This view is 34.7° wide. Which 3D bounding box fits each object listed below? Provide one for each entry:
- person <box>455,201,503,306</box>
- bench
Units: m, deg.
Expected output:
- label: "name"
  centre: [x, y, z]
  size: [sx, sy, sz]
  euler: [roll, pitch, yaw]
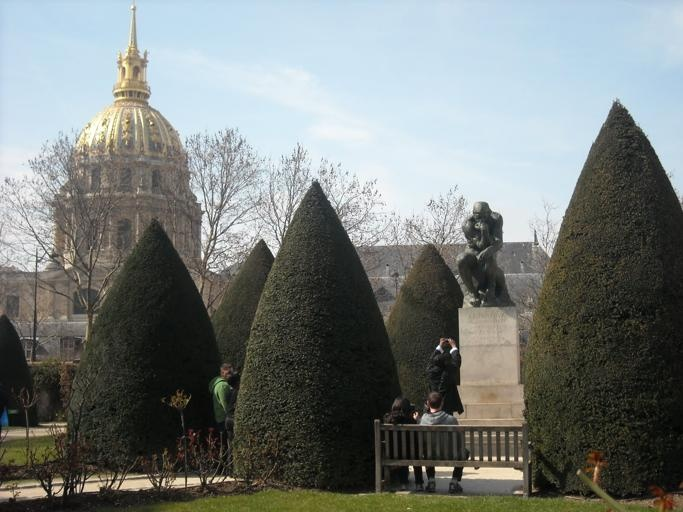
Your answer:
- label: "person"
  centre: [2.989, -0.048, 23.412]
  size: [0.968, 2.146, 0.872]
  euler: [-1, -9, 10]
- label: "bench"
  centre: [1.934, 3.438, 18.733]
  size: [2.581, 1.210, 2.847]
  euler: [-2, -10, 9]
